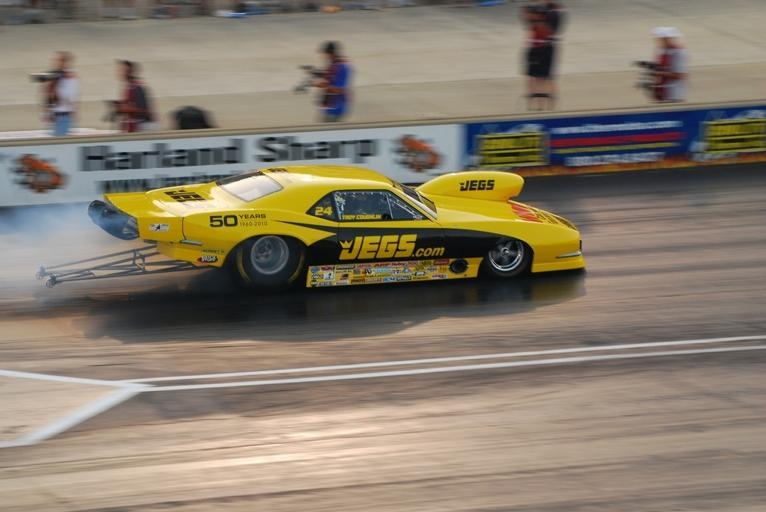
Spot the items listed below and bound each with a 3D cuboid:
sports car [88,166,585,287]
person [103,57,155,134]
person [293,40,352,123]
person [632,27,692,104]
[{"bbox_3d":[-0.427,-0.439,13.022,7.075,0.793,2.229,-2,13,-16],"label":"sports car"},{"bbox_3d":[-4.430,-2.806,16.451,0.664,1.277,0.787,-7,26,-11],"label":"person"},{"bbox_3d":[-0.952,-3.234,17.449,0.688,1.493,0.668,-3,27,-2],"label":"person"},{"bbox_3d":[5.636,-3.749,18.393,0.653,1.477,0.668,-3,27,-2],"label":"person"}]
